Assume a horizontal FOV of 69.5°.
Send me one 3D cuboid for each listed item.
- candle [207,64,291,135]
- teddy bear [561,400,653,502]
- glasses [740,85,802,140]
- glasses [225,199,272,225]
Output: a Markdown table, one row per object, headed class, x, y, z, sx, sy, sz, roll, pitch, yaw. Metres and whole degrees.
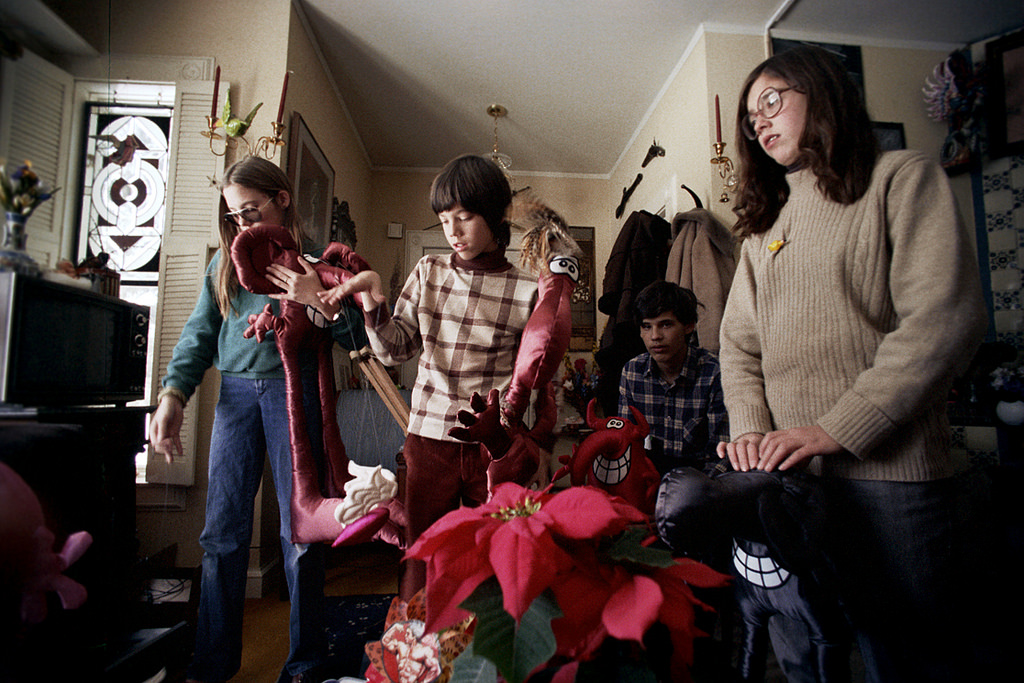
| class | x | y | z | sx | sy | sz | roll | pitch | yaw |
| --- | --- | --- | --- | --- | --- | --- | --- | --- | --- |
| candle | -0.995 | -0.866 | 2.747 | 0.287 | 0.269 | 0.313 | -1 | 0 | -24 |
| teddy bear | 0.148 | 0.189 | 1.376 | 0.138 | 0.203 | 0.194 | 0 | -3 | 33 |
| glasses | 0.453 | -0.402 | 1.305 | 0.075 | 0.025 | 0.072 | -34 | -3 | -30 |
| glasses | -0.670 | -0.321 | 1.870 | 0.089 | 0.028 | 0.096 | -4 | 44 | 20 |
